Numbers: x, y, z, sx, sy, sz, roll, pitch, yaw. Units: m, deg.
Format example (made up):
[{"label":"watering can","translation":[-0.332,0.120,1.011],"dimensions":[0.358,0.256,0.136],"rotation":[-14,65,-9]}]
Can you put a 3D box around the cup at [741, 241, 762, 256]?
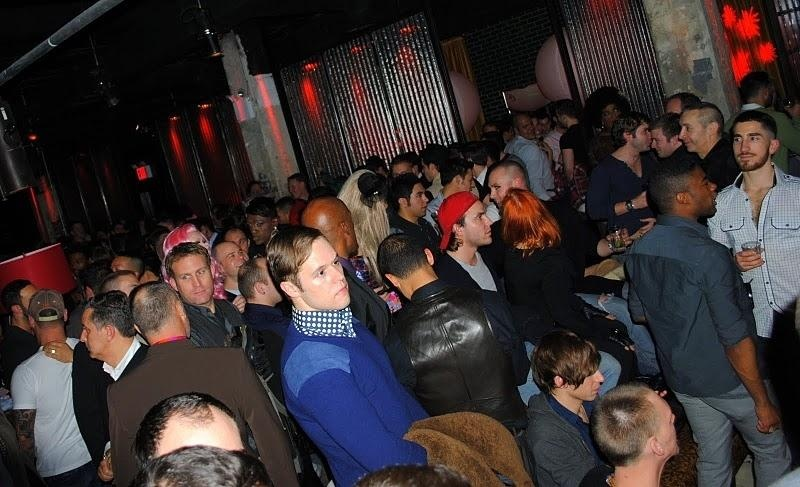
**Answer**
[{"label":"cup","translation":[2.940,0.038,4.587],"dimensions":[0.126,0.099,0.114],"rotation":[4,-10,-45]}]
